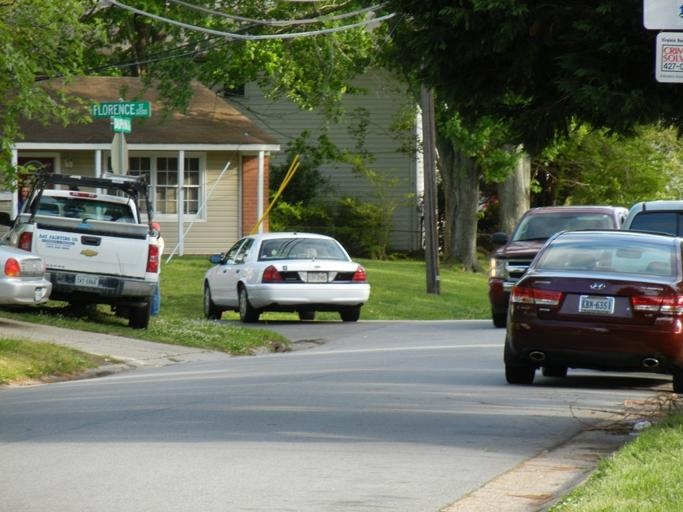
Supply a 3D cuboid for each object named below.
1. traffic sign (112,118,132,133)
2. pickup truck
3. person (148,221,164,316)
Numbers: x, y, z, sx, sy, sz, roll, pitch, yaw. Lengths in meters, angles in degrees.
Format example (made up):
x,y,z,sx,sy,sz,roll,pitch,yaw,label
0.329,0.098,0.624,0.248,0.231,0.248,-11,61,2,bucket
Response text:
x,y,z,sx,sy,sz,roll,pitch,yaw,label
-4.077,-2.437,24.003,0.105,0.238,0.558,-3,-1,25,traffic sign
-4.398,-0.297,22.305,2.135,1.689,3.434,1,6,-13,pickup truck
-3.265,-0.013,22.941,0.267,0.982,0.218,0,-14,-15,person
